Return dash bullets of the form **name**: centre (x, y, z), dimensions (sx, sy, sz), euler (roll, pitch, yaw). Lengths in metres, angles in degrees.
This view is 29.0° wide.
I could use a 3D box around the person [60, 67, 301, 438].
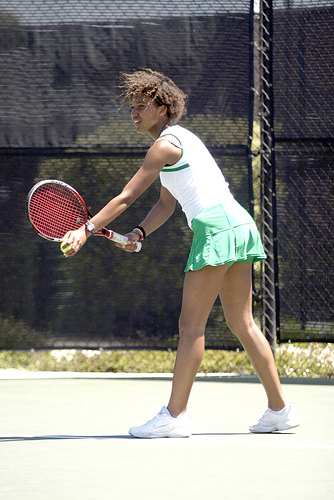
- **person**: centre (0.039, 0.104, 2.545), dimensions (0.688, 1.484, 0.942), euler (-9, 24, -39)
